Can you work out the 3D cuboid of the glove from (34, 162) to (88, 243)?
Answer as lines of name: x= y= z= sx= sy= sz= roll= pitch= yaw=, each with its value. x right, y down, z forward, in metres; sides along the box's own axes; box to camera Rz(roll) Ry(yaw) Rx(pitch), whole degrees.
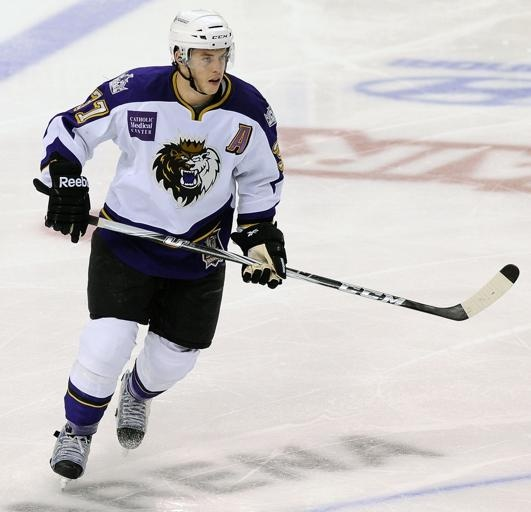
glove: x=-0.616 y=-0.168 z=2.113 sx=0.161 sy=0.252 sz=0.132 roll=0 pitch=23 yaw=-14

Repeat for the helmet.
helmet: x=-0.177 y=-0.637 z=2.083 sx=0.172 sy=0.149 sz=0.197 roll=-19 pitch=29 yaw=-26

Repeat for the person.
person: x=-0.298 y=-0.002 z=2.163 sx=0.778 sy=1.476 sz=0.527 roll=-1 pitch=24 yaw=-15

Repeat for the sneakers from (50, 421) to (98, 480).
sneakers: x=-0.599 y=0.606 z=2.200 sx=0.089 sy=0.097 sz=0.230 roll=32 pitch=5 yaw=-19

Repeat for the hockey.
hockey: x=0.192 y=0.066 z=2.824 sx=1.763 sy=0.143 sz=0.161 roll=12 pitch=28 yaw=-19

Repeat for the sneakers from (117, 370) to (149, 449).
sneakers: x=-0.469 y=0.556 z=2.517 sx=0.117 sy=0.123 sz=0.267 roll=13 pitch=53 yaw=-22
